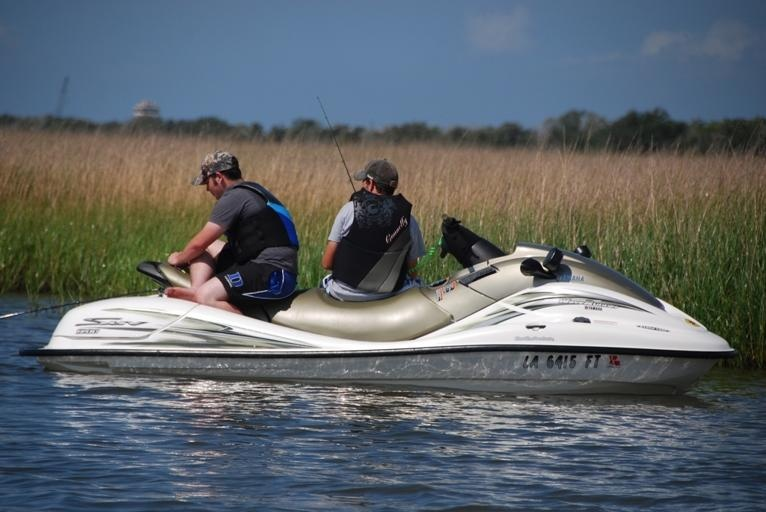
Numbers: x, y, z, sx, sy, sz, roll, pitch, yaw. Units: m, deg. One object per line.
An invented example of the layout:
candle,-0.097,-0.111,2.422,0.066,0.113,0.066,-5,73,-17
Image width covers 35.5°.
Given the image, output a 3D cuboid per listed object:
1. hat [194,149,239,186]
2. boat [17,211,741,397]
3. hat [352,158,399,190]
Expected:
hat,-1.813,-0.955,12.883,0.548,0.246,0.330,-4,11,-2
boat,0.295,0.545,13.273,8.170,1.808,2.372,0,-2,5
hat,-0.096,-0.894,12.675,0.443,0.230,0.301,19,27,24
